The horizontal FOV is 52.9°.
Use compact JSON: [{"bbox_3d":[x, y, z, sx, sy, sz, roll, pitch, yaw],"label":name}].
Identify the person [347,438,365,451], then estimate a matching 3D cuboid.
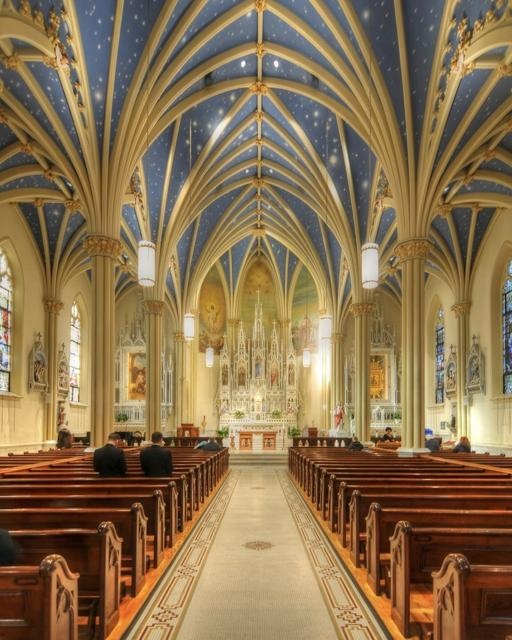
[{"bbox_3d":[3.323,4.097,17.044,0.623,0.416,1.009,0,-10,11],"label":"person"}]
